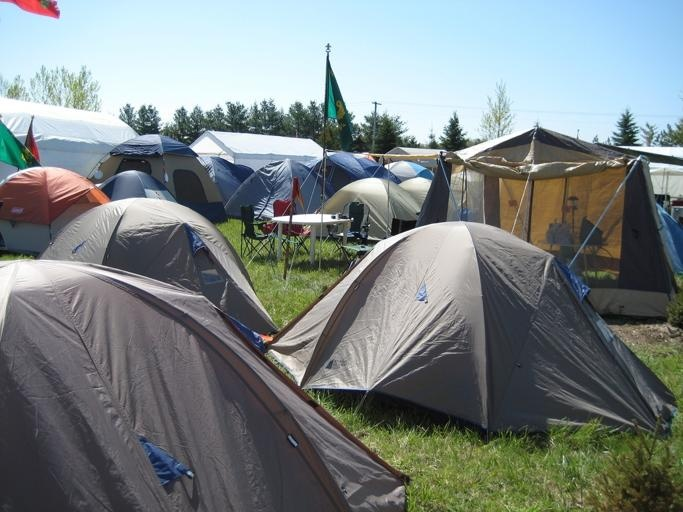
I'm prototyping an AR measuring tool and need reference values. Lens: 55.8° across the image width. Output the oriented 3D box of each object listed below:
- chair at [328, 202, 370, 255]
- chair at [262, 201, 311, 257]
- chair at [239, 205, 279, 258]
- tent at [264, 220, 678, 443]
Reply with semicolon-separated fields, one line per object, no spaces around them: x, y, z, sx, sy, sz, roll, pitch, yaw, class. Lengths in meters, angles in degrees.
0.143;-0.437;11.186;0.611;1.052;0.671;8;8;22;chair
-1.026;-0.493;11.514;0.703;1.313;0.808;0;5;-20;chair
-1.393;-0.377;10.569;0.493;0.830;0.526;3;-5;-12;chair
1.063;0.632;5.332;2.011;1.088;2.045;4;14;15;tent
